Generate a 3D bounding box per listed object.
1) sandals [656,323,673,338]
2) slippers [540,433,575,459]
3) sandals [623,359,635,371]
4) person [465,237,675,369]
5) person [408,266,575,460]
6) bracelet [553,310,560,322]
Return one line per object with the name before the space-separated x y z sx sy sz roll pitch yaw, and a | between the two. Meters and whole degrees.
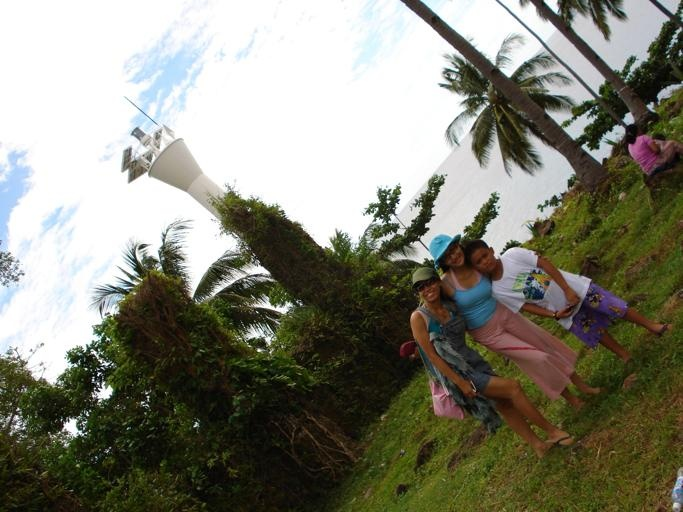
sandals | 3.912 0.894 5.352 0.224 0.110 0.057 -47 -17 15
slippers | 2.559 2.197 5.241 0.436 0.212 0.115 -40 -12 25
sandals | 3.565 1.316 5.404 0.117 0.064 0.125 -10 55 55
person | 2.744 0.492 5.530 1.014 2.538 0.838 -63 -2 20
person | 1.974 0.967 5.255 1.504 2.944 1.025 4 18 43
bracelet | 2.709 0.728 5.486 0.133 0.099 0.059 -9 -72 -51
